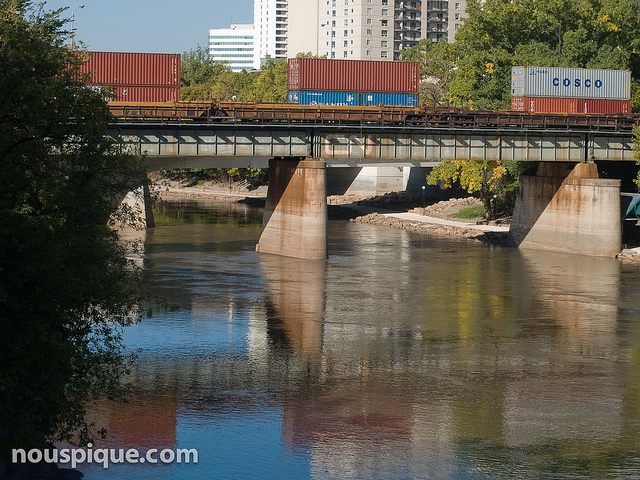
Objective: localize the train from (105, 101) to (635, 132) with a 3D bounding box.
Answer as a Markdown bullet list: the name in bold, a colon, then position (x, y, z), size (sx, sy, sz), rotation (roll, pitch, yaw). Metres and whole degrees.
- **train**: position (3.994, -9.573, 88.333), size (39.766, 2.374, 10.201), rotation (-3, 11, -18)

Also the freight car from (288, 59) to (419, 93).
- **freight car**: position (2.934, -13.517, 94.199), size (10.196, 2.738, 1.700), rotation (-2, 10, -11)
